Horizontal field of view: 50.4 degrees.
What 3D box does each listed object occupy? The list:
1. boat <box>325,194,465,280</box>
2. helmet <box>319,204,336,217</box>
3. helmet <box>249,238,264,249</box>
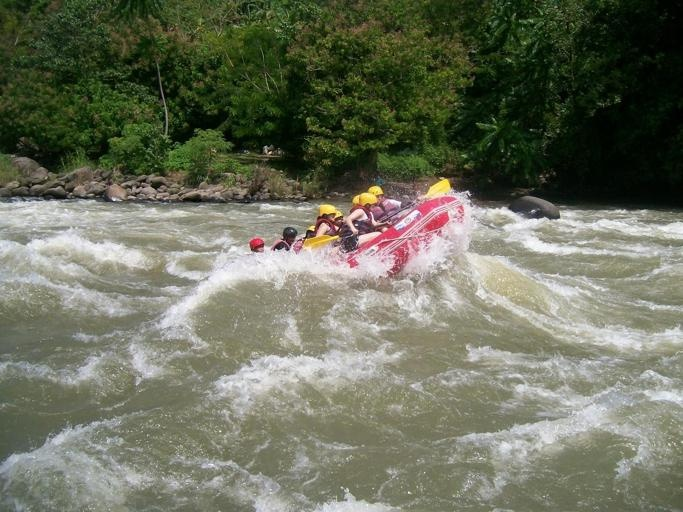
[{"bbox_3d":[1.259,-0.608,15.509,2.609,0.890,1.336,-36,-16,4],"label":"boat"},{"bbox_3d":[-0.398,-1.029,16.321,0.473,0.309,0.359,5,10,3],"label":"helmet"},{"bbox_3d":[-1.906,-0.233,16.427,0.329,0.309,0.278,-9,-7,34],"label":"helmet"}]
